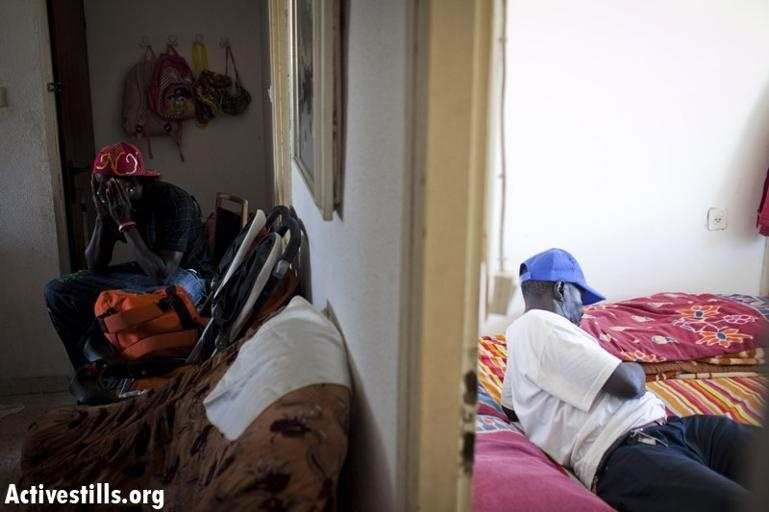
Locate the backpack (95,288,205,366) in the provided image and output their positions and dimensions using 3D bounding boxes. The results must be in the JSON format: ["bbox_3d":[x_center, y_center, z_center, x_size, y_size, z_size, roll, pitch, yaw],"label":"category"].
[{"bbox_3d":[-1.158,0.313,2.785,0.424,0.308,0.332,-3,4,-29],"label":"backpack"}]

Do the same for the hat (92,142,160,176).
[{"bbox_3d":[-1.552,-0.557,3.407,0.231,0.144,0.340,22,20,39],"label":"hat"}]

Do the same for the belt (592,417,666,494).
[{"bbox_3d":[1.145,0.897,2.540,0.461,0.266,0.145,-10,18,-32],"label":"belt"}]

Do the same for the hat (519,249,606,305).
[{"bbox_3d":[1.005,0.121,3.141,0.468,0.268,0.308,14,-10,-8],"label":"hat"}]

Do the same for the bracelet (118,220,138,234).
[{"bbox_3d":[-1.498,-0.170,3.282,0.083,0.063,0.071,-6,17,-22],"label":"bracelet"}]

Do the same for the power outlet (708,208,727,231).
[{"bbox_3d":[2.608,-0.289,4.414,0.169,0.176,0.045,-4,16,-15],"label":"power outlet"}]

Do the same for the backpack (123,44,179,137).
[{"bbox_3d":[-2.056,-1.424,4.870,0.426,0.790,0.166,-7,17,-24],"label":"backpack"}]

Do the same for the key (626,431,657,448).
[{"bbox_3d":[1.135,0.798,2.483,0.087,0.042,0.061,7,2,27],"label":"key"}]

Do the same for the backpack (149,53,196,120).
[{"bbox_3d":[-1.826,-1.459,4.858,0.395,0.558,0.211,-8,8,-29],"label":"backpack"}]
